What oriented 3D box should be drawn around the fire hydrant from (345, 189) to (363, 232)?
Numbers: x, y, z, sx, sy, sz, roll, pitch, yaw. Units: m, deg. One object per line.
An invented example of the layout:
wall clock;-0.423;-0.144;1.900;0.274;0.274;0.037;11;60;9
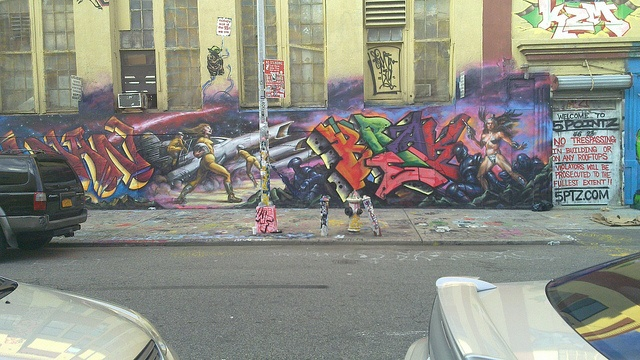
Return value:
fire hydrant;1.243;1.160;23.185;0.636;1.516;0.629;-1;10;2
